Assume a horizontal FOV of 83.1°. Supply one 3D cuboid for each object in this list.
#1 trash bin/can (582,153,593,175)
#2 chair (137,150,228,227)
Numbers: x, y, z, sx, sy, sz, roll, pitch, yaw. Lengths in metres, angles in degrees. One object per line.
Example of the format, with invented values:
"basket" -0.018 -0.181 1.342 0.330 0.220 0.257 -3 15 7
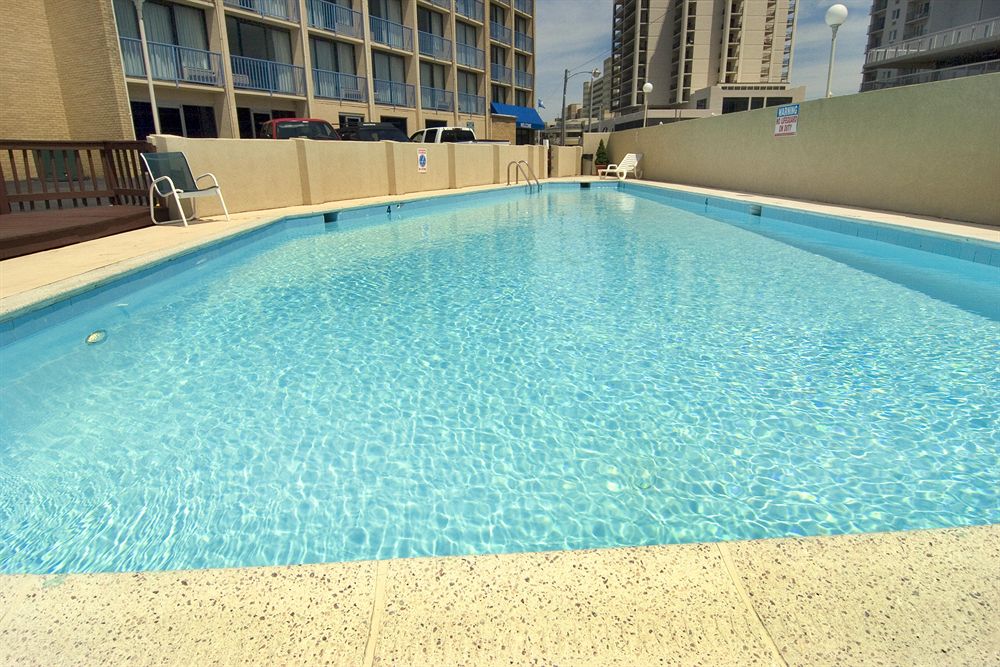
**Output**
"trash bin/can" 4.681 -9.024 30.069 0.568 0.982 1.285 1 22 7
"chair" -5.518 -2.538 9.891 1.235 1.054 0.915 12 20 14
